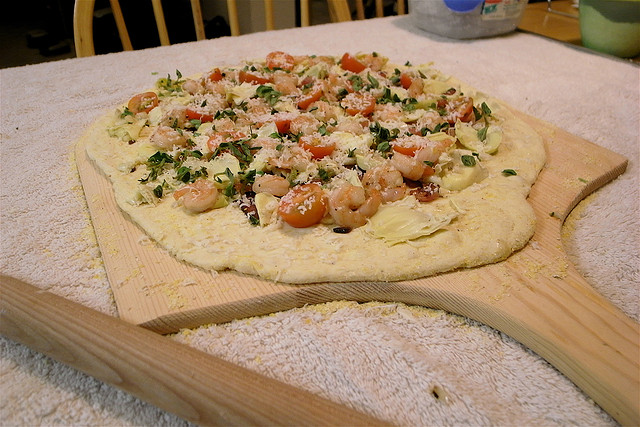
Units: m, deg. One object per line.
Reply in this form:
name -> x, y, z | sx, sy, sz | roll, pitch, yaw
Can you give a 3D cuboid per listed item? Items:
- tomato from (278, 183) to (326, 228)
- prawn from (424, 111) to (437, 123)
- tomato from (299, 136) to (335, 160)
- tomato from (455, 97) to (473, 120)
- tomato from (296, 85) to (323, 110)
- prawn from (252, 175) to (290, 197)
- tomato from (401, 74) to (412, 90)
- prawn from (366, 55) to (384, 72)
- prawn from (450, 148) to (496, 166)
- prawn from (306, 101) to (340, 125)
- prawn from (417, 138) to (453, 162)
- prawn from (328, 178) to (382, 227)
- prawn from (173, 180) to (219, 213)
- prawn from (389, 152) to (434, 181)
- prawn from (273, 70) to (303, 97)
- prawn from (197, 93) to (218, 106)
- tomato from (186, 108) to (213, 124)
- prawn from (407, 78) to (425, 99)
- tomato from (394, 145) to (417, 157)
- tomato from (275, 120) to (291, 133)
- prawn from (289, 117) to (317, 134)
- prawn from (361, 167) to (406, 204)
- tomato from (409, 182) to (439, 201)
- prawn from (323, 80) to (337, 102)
tomato -> -0.054, -0.026, 1.725 | 0.172, 0.119, 0.188 | -20, 30, -32
prawn -> 0.447, -0.396, 1.982 | 0.045, 0.013, 0.047 | 22, 48, 28
tomato -> -0.008, -0.244, 1.848 | 0.090, 0.053, 0.088 | 3, 28, -13
tomato -> 0.608, -0.428, 2.045 | 0.080, 0.051, 0.079 | -12, 61, 46
tomato -> -0.037, -0.509, 2.114 | 0.100, 0.034, 0.105 | -13, 31, 48
prawn -> -0.173, -0.100, 1.736 | 0.112, 0.037, 0.070 | 16, 63, 15
tomato -> 0.393, -0.622, 2.300 | 0.057, 0.054, 0.056 | -14, 43, -39
prawn -> 0.267, -0.746, 2.408 | 0.087, 0.028, 0.085 | -11, 44, -11
prawn -> 0.555, -0.218, 1.843 | 0.109, 0.029, 0.105 | -9, 25, -43
prawn -> 0.007, -0.426, 2.021 | 0.109, 0.032, 0.124 | 0, 54, -7
prawn -> 0.431, -0.245, 1.797 | 0.122, 0.028, 0.070 | -31, 60, -31
prawn -> 0.111, -0.028, 1.674 | 0.146, 0.103, 0.142 | 19, 42, 24
prawn -> -0.428, -0.085, 1.758 | 0.162, 0.101, 0.187 | -10, 21, -31
prawn -> 0.327, -0.163, 1.757 | 0.122, 0.047, 0.100 | 28, 13, 33
prawn -> -0.152, -0.585, 2.204 | 0.133, 0.034, 0.129 | 2, 59, -11
prawn -> -0.497, -0.507, 2.140 | 0.067, 0.017, 0.063 | -10, 29, 12
tomato -> -0.509, -0.421, 2.049 | 0.070, 0.042, 0.070 | 19, 19, 14
prawn -> 0.422, -0.555, 2.153 | 0.050, 0.024, 0.095 | 11, 54, 20
tomato -> 0.318, -0.237, 1.827 | 0.050, 0.030, 0.051 | 13, 19, 33
tomato -> -0.147, -0.347, 1.954 | 0.046, 0.034, 0.047 | 7, 43, 3
prawn -> -0.072, -0.351, 1.937 | 0.079, 0.021, 0.078 | -7, 40, -8
prawn -> 0.230, -0.105, 1.806 | 0.191, 0.117, 0.154 | -3, 18, -12
tomato -> 0.375, -0.077, 1.736 | 0.061, 0.029, 0.075 | 24, 44, 30
prawn -> 0.044, -0.542, 2.169 | 0.025, 0.084, 0.083 | -9, 70, 22
